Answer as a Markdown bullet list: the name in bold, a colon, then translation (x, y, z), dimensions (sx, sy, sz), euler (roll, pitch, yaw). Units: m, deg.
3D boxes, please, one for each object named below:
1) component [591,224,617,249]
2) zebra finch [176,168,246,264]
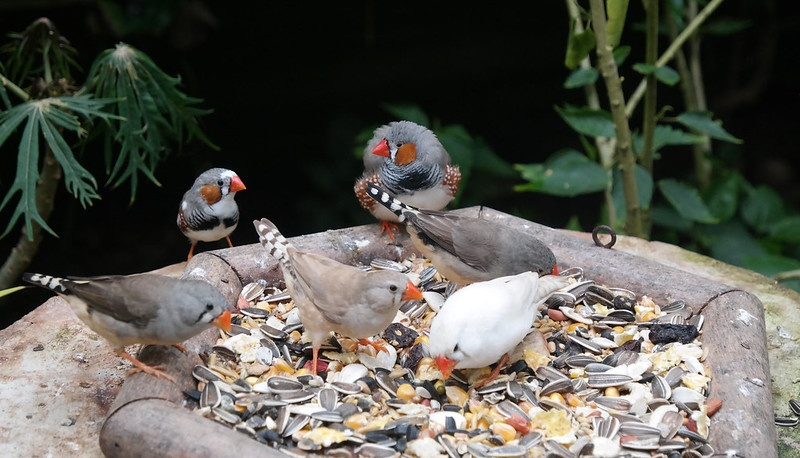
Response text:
- **component**: translation (1.717, 0.073, 6.177), dimensions (0.214, 0.247, 0.061), euler (3, 18, 9)
- **zebra finch**: translation (-1.583, -0.140, 6.060), dimensions (0.530, 0.720, 0.878), euler (-9, 16, -31)
